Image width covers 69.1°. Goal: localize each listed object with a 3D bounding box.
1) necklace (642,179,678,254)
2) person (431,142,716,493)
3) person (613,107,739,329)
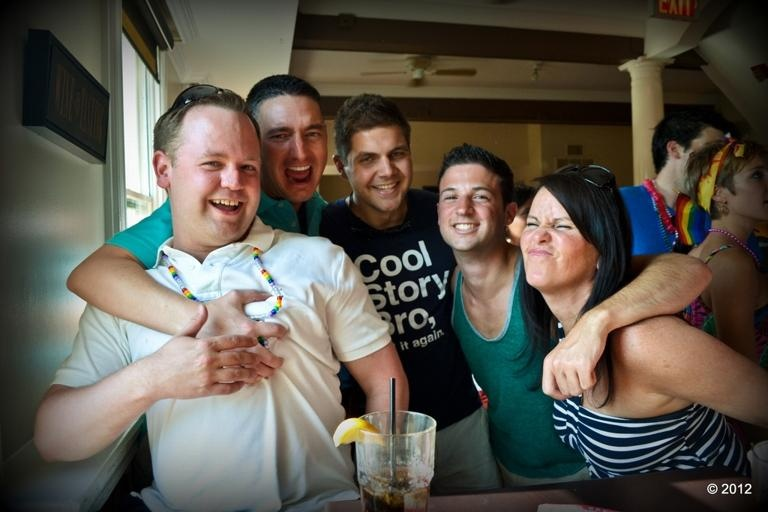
[{"bbox_3d":[1.691,-0.244,3.422,0.256,0.335,0.099,5,-26,-25],"label":"necklace"},{"bbox_3d":[0.640,0.417,2.697,1.201,1.901,0.714,-6,10,42],"label":"person"},{"bbox_3d":[1.776,-0.485,3.542,0.546,0.864,0.990,20,18,40],"label":"person"}]
